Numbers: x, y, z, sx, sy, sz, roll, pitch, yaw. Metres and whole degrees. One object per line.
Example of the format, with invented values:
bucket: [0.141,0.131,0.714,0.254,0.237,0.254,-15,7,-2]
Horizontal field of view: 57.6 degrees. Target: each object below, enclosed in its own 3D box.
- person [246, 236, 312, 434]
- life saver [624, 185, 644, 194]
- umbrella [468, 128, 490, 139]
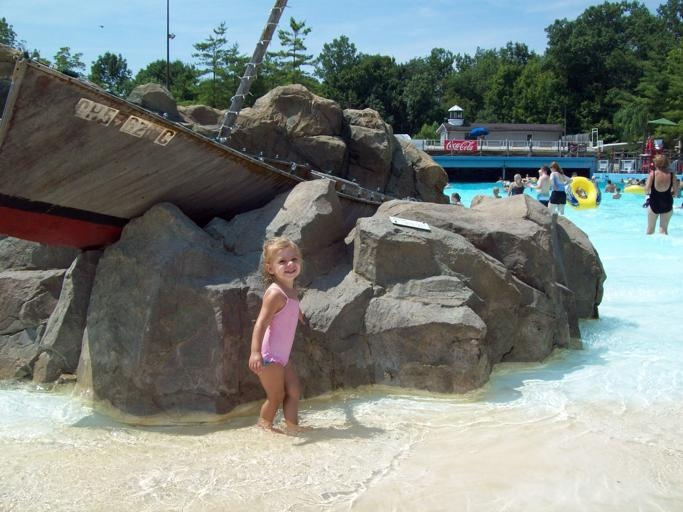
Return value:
person: [-0.576,0.710,5.606,0.431,1.703,0.657,0,8,-5]
life saver: [14.733,-3.329,31.068,0.734,0.269,0.801,1,2,6]
umbrella: [12.841,-11.374,57.794,1.618,1.078,3.976,2,9,10]
